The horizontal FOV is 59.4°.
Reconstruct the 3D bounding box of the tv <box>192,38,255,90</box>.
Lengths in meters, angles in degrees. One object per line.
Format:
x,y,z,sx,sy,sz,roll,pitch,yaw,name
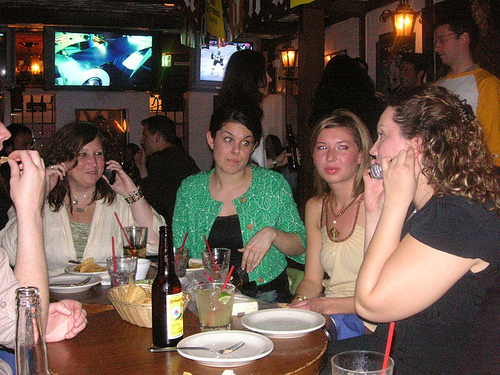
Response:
-0.571,-2.401,8.537,1.249,1.047,0.697,-8,14,-22,tv

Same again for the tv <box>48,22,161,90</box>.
-2.606,-2.299,7.610,1.303,0.726,0.099,0,10,-14,tv

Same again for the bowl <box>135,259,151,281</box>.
-0.542,0.421,2.239,0.088,0.072,0.090,2,-1,0,bowl

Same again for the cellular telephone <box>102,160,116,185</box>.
-1.051,-0.118,3.275,0.155,0.153,0.041,-1,-12,45,cellular telephone

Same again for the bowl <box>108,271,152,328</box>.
-0.481,0.446,1.763,0.196,0.104,0.197,1,-3,0,bowl

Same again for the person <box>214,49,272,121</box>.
-0.087,-0.919,4.069,0.516,0.718,0.482,11,14,34,person

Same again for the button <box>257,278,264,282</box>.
0.069,0.597,2.834,0.045,0.027,0.014,-2,6,-34,button

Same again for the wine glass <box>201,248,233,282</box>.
-0.158,0.410,2.224,0.163,0.181,0.170,3,-7,-7,wine glass

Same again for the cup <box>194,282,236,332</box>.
-0.141,0.448,1.710,0.178,0.193,0.178,-1,-6,0,cup

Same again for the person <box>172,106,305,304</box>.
-0.093,0.224,2.936,0.954,1.477,0.798,-3,5,-10,person

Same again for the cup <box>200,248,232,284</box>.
-0.160,0.383,2.154,0.158,0.173,0.164,0,-13,0,cup

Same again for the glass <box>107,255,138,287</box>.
-0.617,0.421,2.142,0.154,0.170,0.151,1,2,-26,glass

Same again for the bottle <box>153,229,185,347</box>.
-0.291,0.355,1.551,0.102,0.433,0.047,-1,6,-14,bottle

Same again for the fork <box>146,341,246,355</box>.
-0.189,0.562,1.532,0.346,0.036,0.086,0,5,-6,fork

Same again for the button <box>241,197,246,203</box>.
-0.046,0.081,2.956,0.033,0.033,0.008,6,-6,-18,button

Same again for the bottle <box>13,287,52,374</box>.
-0.638,0.412,1.269,0.081,0.260,0.143,-2,6,-29,bottle

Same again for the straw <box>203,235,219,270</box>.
-0.210,0.350,2.389,0.019,0.196,0.012,-15,18,24,straw

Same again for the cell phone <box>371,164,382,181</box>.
0.595,-0.078,2.071,0.046,0.062,0.052,10,-4,7,cell phone
